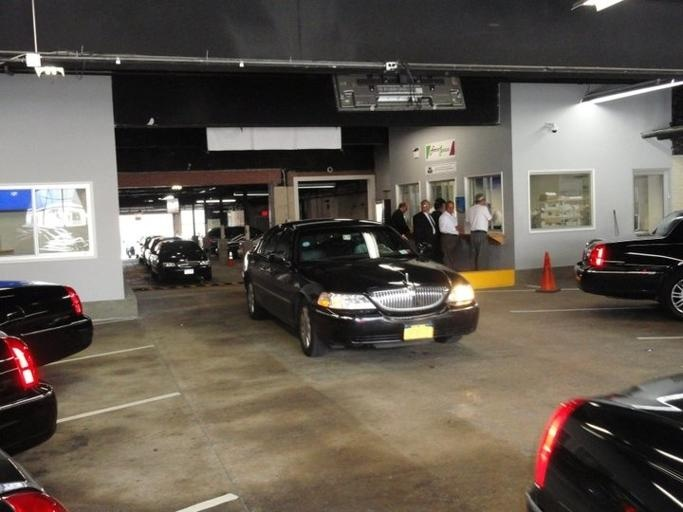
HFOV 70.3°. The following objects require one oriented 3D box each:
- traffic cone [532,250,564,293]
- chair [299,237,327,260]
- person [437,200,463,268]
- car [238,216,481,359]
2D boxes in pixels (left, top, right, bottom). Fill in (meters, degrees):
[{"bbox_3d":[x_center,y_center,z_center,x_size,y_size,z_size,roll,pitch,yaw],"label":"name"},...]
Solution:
[{"bbox_3d":[5.407,0.454,12.758,0.669,1.001,0.681,-2,-1,35],"label":"traffic cone"},{"bbox_3d":[-0.484,-0.089,7.864,0.266,0.400,0.349,-1,2,-16],"label":"chair"},{"bbox_3d":[3.141,-0.573,14.197,0.719,2.482,0.930,-10,29,0],"label":"person"},{"bbox_3d":[-0.191,0.400,8.268,1.715,1.329,4.092,-1,1,-20],"label":"car"}]
